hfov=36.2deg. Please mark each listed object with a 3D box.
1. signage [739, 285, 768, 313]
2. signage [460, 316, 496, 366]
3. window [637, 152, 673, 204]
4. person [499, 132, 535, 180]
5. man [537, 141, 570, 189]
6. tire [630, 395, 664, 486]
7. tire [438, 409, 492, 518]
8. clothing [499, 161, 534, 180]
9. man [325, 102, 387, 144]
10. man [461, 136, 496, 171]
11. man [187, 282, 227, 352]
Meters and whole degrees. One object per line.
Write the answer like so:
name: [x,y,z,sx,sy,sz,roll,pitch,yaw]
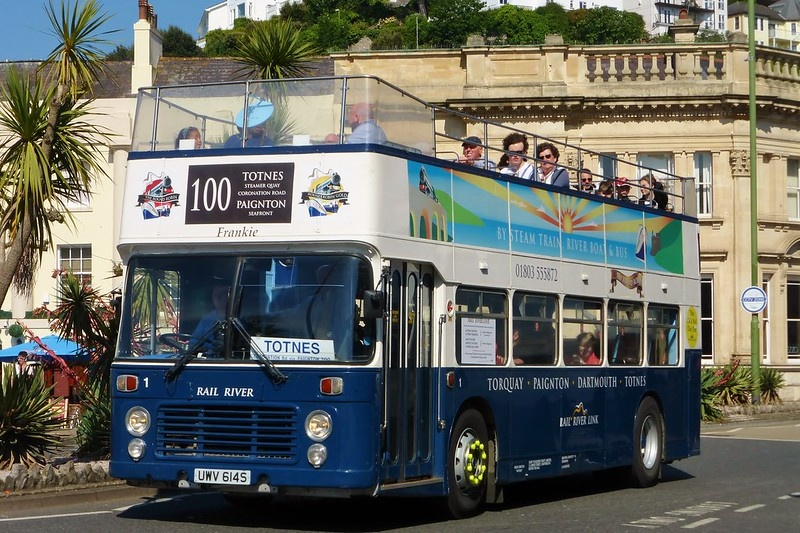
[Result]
signage: [10.830,0.957,38.015,0.832,0.918,0.116,5,-1,-3]
signage: [1.265,1.178,19.624,0.836,0.786,0.062,1,0,39]
window: [8.519,-3.350,42.418,1.813,0.113,2.131,6,41,1]
person: [2.027,-1.919,21.636,0.648,0.929,0.530,5,12,34]
man: [2.624,-1.715,21.887,0.603,0.999,0.519,1,-11,17]
tire: [4.556,3.258,23.010,0.496,1.872,1.552,-1,-6,30]
tire: [0.955,3.086,19.274,0.483,1.884,1.557,-2,-7,32]
clothing: [2.027,-1.849,21.370,0.515,0.548,0.295,-1,-5,-1]
man: [-0.644,-2.239,18.883,0.988,0.668,0.963,-1,4,-9]
man: [1.263,-1.943,20.857,0.699,0.381,0.435,28,-23,-32]
man: [-2.781,0.760,18.206,0.251,0.931,0.642,22,-8,-41]
